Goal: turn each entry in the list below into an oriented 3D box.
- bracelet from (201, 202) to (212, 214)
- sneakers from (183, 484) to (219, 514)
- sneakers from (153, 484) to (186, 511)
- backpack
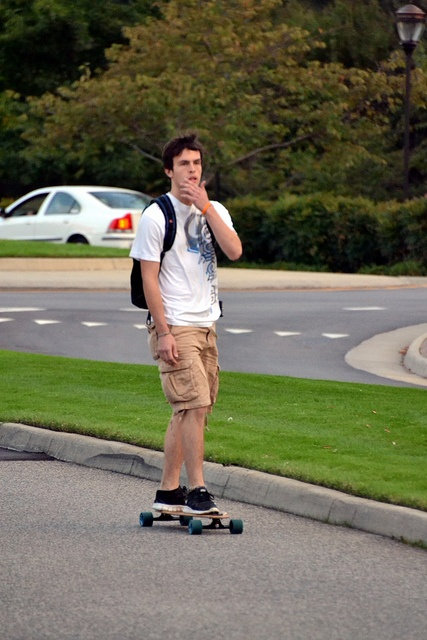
[{"bbox_3d":[-0.035,-0.508,4.674,0.035,0.054,0.033,-1,4,-1],"label":"bracelet"},{"bbox_3d":[-0.060,0.843,4.755,0.163,0.130,0.126,0,4,2],"label":"sneakers"},{"bbox_3d":[-0.208,0.868,4.877,0.197,0.097,0.073,1,5,-8],"label":"sneakers"},{"bbox_3d":[-0.132,-0.403,4.843,0.275,0.291,0.457,0,-40,14],"label":"backpack"}]
